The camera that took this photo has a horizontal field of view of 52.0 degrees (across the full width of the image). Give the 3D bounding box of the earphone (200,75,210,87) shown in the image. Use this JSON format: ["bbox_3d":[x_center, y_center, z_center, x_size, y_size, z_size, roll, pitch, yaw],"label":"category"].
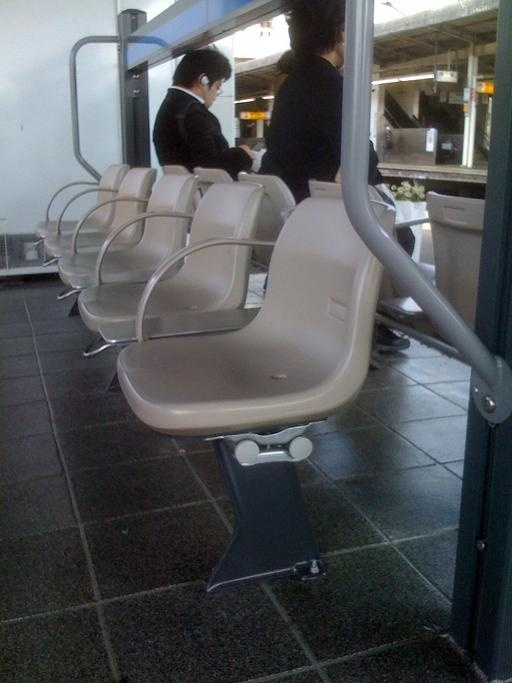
[{"bbox_3d":[-0.351,-1.771,3.547,0.059,0.053,0.045,2,4,-11],"label":"earphone"}]

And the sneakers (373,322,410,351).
[{"bbox_3d":[0.701,-0.015,2.800,0.233,0.096,0.204,1,14,-38],"label":"sneakers"}]
